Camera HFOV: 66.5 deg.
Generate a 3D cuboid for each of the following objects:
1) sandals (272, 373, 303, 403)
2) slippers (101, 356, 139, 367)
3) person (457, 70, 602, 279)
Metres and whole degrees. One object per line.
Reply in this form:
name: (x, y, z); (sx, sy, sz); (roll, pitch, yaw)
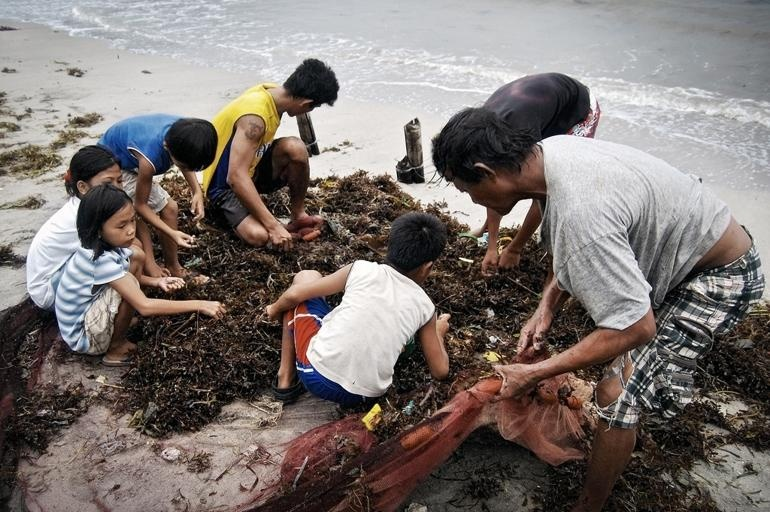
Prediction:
sandals: (-0.900, 1.249, 5.507); (0.185, 0.125, 0.325); (3, 15, 4)
slippers: (-2.528, 1.004, 5.623); (0.328, 0.110, 0.115); (2, 11, -12)
person: (1.786, -1.165, 6.324); (1.233, 1.469, 1.199); (-2, 16, -32)
